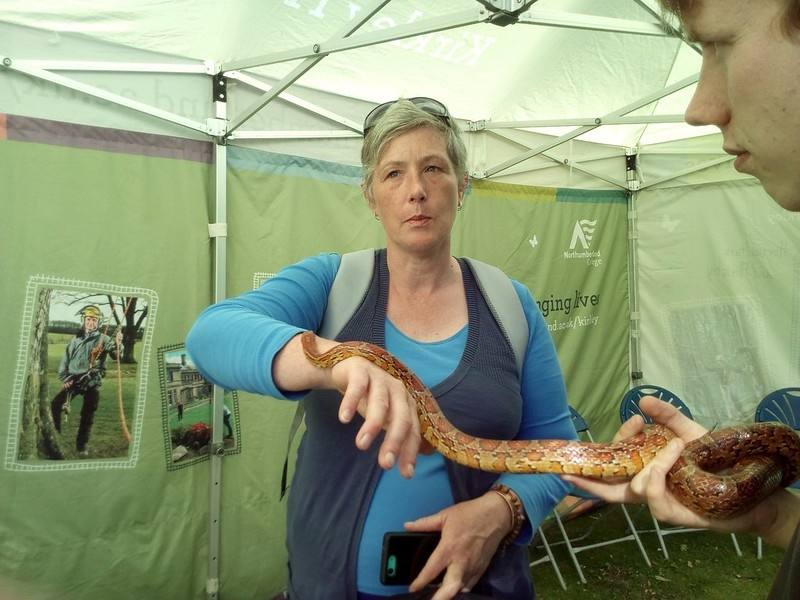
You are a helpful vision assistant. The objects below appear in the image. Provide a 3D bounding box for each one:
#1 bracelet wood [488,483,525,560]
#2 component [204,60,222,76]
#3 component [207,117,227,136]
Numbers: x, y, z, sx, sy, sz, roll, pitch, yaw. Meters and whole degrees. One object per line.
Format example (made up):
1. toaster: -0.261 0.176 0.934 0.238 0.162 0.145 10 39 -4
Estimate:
1. bracelet wood: 0.665 1.300 3.757 0.189 0.311 0.285 5 6 33
2. component: -1.765 -2.178 5.999 0.111 0.092 0.145 5 3 30
3. component: -1.738 -1.635 6.041 0.195 0.158 0.102 1 -1 -22
